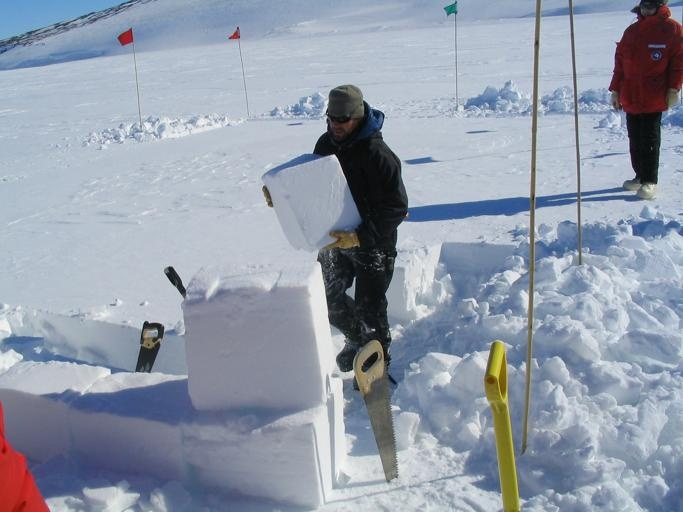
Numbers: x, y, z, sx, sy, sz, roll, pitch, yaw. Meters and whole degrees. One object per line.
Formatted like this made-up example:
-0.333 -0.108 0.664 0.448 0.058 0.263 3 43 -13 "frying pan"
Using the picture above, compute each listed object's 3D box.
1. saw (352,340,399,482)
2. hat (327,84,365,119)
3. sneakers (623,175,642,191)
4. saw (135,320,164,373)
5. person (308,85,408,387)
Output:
0.232 0.927 4.490 0.343 0.834 0.543 4 28 6 "saw"
0.033 -1.106 5.186 0.219 0.199 0.246 1 20 -3 "hat"
3.093 -0.775 7.669 0.100 0.120 0.170 0 16 -18 "sneakers"
-1.499 0.704 5.645 0.255 0.365 0.157 -9 10 -25 "saw"
0.058 -0.054 5.452 0.781 2.303 0.887 -17 22 -42 "person"
